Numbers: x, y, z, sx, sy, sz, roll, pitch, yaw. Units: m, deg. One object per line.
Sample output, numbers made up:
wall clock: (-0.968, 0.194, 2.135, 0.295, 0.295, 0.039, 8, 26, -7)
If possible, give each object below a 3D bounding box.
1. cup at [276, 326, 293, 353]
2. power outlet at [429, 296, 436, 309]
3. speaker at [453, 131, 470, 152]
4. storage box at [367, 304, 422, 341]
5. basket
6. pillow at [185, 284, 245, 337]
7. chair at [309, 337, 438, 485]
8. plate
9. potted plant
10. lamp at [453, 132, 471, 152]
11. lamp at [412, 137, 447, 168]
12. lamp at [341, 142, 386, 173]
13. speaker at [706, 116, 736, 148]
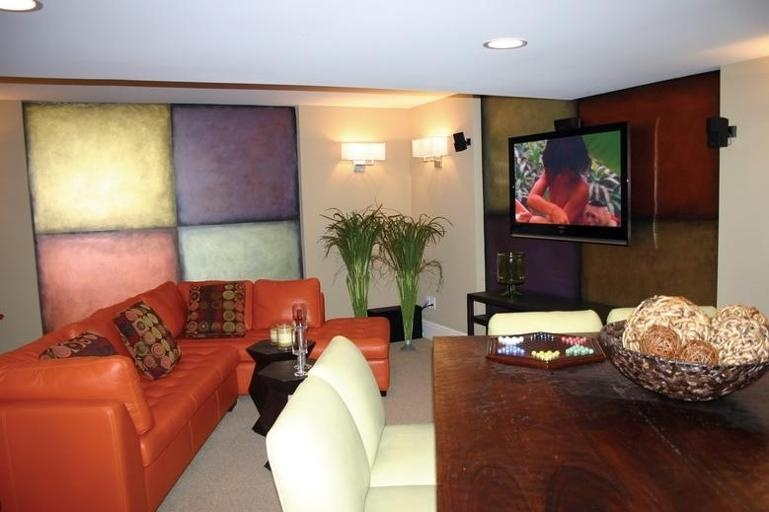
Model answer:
cup: (-0.785, 0.660, 4.330, 0.168, 0.191, 0.166, 0, 5, 0)
power outlet: (0.598, 0.588, 6.851, 0.023, 0.166, 0.145, -6, 10, -30)
speaker: (0.849, -1.296, 6.211, 0.174, 0.209, 0.215, -5, 8, -24)
storage box: (0.132, 0.799, 6.722, 0.740, 0.491, 0.396, -2, 2, -20)
basket: (1.200, 0.383, 2.256, 0.390, 0.132, 0.389, -1, 2, -20)
pillow: (-1.609, 0.514, 5.212, 0.527, 0.486, 0.153, 0, -22, -13)
chair: (0.040, 0.661, 2.953, 0.702, 0.957, 0.545, -3, 23, 4)
plate: (1.173, 0.398, 2.286, 0.389, 0.130, 0.387, -1, 3, -23)
potted plant: (-0.072, 0.113, 6.819, 1.931, 2.019, 1.550, 0, 0, -7)
lamp: (0.856, -1.283, 6.204, 0.161, 0.215, 0.091, 10, 18, 34)
lamp: (0.522, -1.232, 6.598, 0.350, 0.367, 0.467, -7, 9, -21)
lamp: (-0.297, -1.252, 6.791, 0.615, 0.427, 0.329, -2, 7, -14)
speaker: (2.422, -0.889, 3.967, 0.207, 0.218, 0.156, -10, 11, -39)
